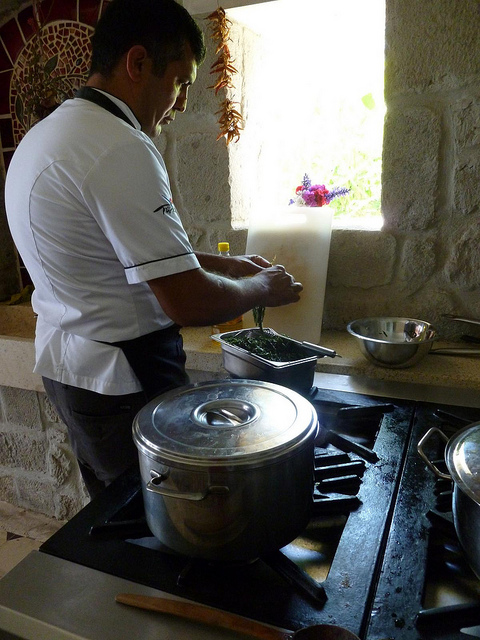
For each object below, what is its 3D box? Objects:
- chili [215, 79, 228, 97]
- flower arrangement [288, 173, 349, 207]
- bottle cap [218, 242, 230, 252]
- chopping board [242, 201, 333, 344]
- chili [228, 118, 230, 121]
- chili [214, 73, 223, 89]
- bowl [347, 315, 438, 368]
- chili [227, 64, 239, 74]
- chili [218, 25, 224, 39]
[{"bbox_3d":[-0.058,-0.688,1.674,0.019,0.012,0.076,16,-32,-22],"label":"chili"},{"bbox_3d":[0.254,-0.440,1.893,0.174,0.102,0.217,13,19,26],"label":"flower arrangement"},{"bbox_3d":[-0.045,-0.217,1.684,0.032,0.020,0.031,-9,14,-37],"label":"bottle cap"},{"bbox_3d":[0.146,-0.149,1.773,0.316,0.405,0.094,-3,23,-19],"label":"chopping board"},{"bbox_3d":[-0.032,-0.588,1.666,0.005,0.008,0.005,2,12,7],"label":"chili"},{"bbox_3d":[-0.063,-0.702,1.677,0.017,0.063,0.017,11,-20,-19],"label":"chili"},{"bbox_3d":[0.424,0.047,1.540,0.244,0.104,0.416,1,13,11],"label":"bowl"},{"bbox_3d":[-0.025,-0.747,1.682,0.042,0.016,0.015,36,36,1],"label":"chili"},{"bbox_3d":[-0.050,-0.813,1.600,0.010,0.033,0.011,-30,18,-36],"label":"chili"}]
